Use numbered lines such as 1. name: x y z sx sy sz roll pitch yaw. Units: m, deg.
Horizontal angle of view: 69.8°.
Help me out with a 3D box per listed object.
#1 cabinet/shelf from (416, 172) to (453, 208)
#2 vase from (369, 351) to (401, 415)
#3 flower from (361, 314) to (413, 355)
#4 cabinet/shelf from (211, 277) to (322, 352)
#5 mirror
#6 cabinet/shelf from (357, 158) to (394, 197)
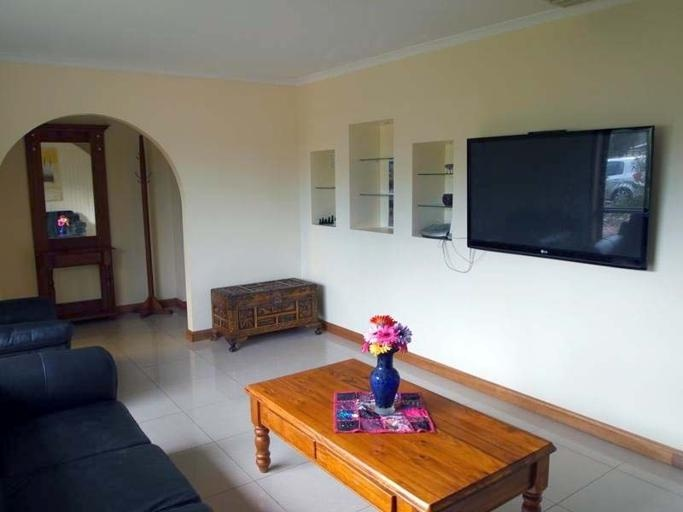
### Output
1. cabinet/shelf: 0.936 -0.687 5.061 0.388 0.385 0.376 -2 3 -39
2. vase: 0.267 0.733 3.010 0.202 0.436 0.209 2 4 17
3. flower: 0.278 0.494 2.959 0.270 0.264 0.222 3 13 18
4. cabinet/shelf: -0.917 0.679 6.034 1.189 0.684 0.617 -6 10 -36
5. mirror: -3.561 -0.864 6.399 0.591 1.225 0.147 -8 14 -32
6. cabinet/shelf: 0.395 -0.938 5.755 0.471 0.433 0.157 4 10 27
